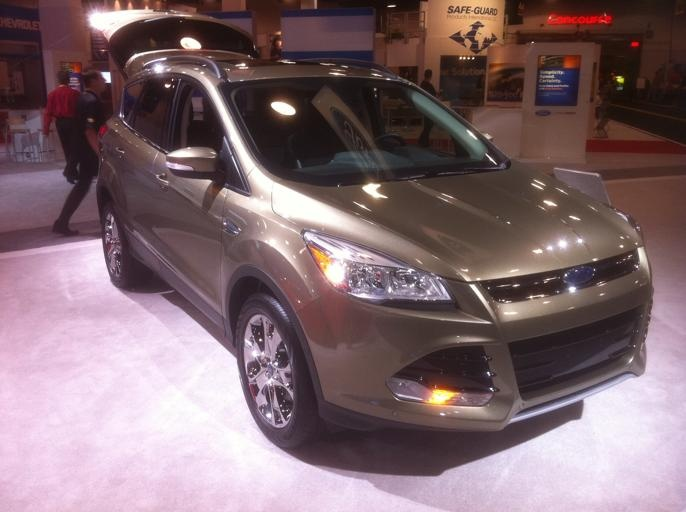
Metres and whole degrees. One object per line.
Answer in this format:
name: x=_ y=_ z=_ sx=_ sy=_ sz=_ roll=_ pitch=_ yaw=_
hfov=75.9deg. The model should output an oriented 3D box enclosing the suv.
suv: x=-0.371 y=-0.481 z=3.219 sx=2.012 sy=1.891 sz=4.227 roll=-16 pitch=29 yaw=-34
